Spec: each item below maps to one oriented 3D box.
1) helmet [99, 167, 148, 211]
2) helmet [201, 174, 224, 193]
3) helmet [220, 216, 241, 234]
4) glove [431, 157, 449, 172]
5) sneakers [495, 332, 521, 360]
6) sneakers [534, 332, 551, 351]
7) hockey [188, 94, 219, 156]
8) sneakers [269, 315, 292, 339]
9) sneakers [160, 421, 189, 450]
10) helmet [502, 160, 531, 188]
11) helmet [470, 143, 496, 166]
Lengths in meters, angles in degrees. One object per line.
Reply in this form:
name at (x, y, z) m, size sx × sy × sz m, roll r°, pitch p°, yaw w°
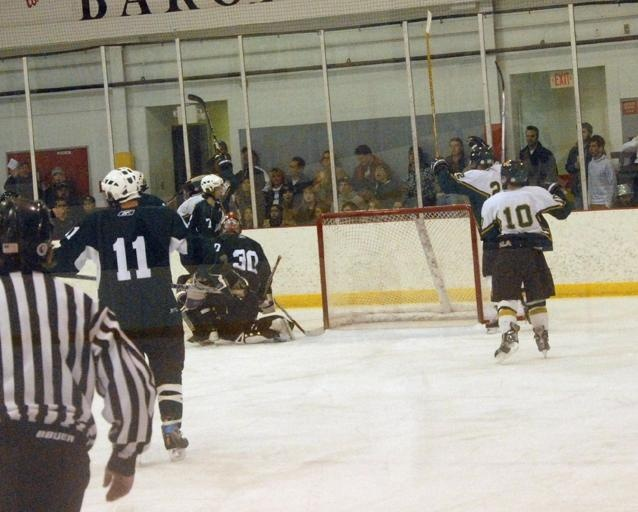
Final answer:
helmet at (-1.048, -0.349, 4.672) m, size 0.218 × 0.215 × 0.171 m, roll 2°, pitch 17°, yaw 17°
helmet at (-0.888, -0.620, 7.348) m, size 0.174 × 0.180 × 0.137 m, roll -15°, pitch 23°, yaw 3°
helmet at (-0.767, -0.267, 7.647) m, size 0.132 × 0.170 × 0.169 m, roll 2°, pitch 7°, yaw -2°
glove at (1.034, -0.746, 7.512) m, size 0.097 × 0.128 × 0.133 m, roll -33°, pitch -42°, yaw 1°
sneakers at (1.276, 0.616, 6.058) m, size 0.160 × 0.208 × 0.215 m, roll -2°, pitch 6°, yaw 10°
sneakers at (1.558, 0.600, 6.196) m, size 0.107 × 0.172 × 0.082 m, roll -11°, pitch -35°, yaw 14°
hockey at (-1.296, -1.487, 9.941) m, size 0.522 × 0.541 × 0.159 m, roll 12°, pitch 25°, yaw 36°
sneakers at (-0.330, 0.622, 7.663) m, size 0.132 × 0.207 × 0.077 m, roll -9°, pitch -8°, yaw -45°
sneakers at (-0.726, 0.907, 4.506) m, size 0.147 × 0.149 × 0.100 m, roll 1°, pitch -7°, yaw -20°
helmet at (1.443, -0.597, 6.488) m, size 0.159 × 0.185 × 0.202 m, roll -3°, pitch -13°, yaw -3°
helmet at (1.338, -0.839, 7.388) m, size 0.155 × 0.195 × 0.200 m, roll 3°, pitch 9°, yaw -35°
